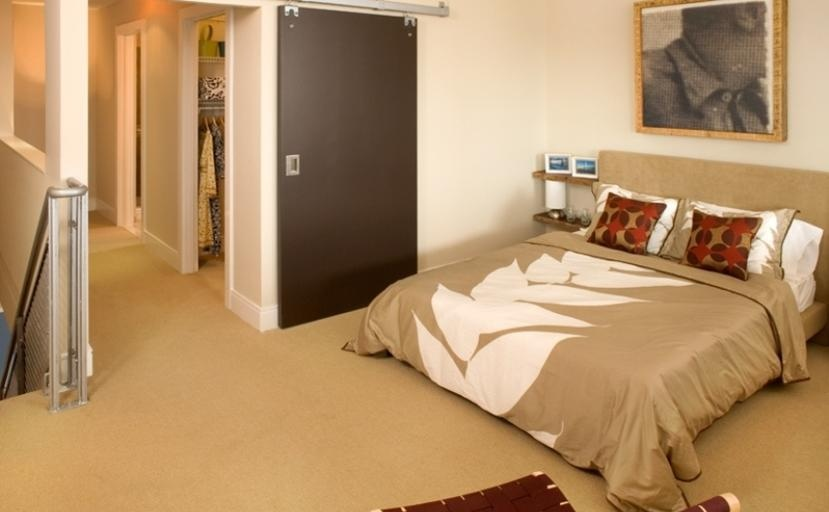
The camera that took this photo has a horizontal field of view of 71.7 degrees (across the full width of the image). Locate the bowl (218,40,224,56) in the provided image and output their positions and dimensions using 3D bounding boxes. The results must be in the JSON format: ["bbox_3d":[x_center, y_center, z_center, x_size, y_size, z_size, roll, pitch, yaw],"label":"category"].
[{"bbox_3d":[-2.368,-2.534,7.028,0.047,0.172,0.149,-1,18,-7],"label":"bowl"}]

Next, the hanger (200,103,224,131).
[{"bbox_3d":[-2.453,-1.698,6.957,0.279,0.328,0.314,-7,19,-23],"label":"hanger"}]

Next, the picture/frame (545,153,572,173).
[{"bbox_3d":[1.718,-1.096,6.846,0.203,0.268,0.362,-5,9,-44],"label":"picture/frame"}]

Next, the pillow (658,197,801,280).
[{"bbox_3d":[2.836,-0.023,5.222,0.289,0.808,0.938,7,8,-22],"label":"pillow"}]

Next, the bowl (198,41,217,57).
[{"bbox_3d":[-2.503,-2.503,6.992,0.198,0.171,0.228,0,1,40],"label":"bowl"}]

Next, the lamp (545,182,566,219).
[{"bbox_3d":[1.710,-0.685,6.942,0.367,0.467,0.371,-4,5,6],"label":"lamp"}]

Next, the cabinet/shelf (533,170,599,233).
[{"bbox_3d":[1.602,-0.711,7.056,0.325,0.584,0.845,-11,16,-36],"label":"cabinet/shelf"}]
